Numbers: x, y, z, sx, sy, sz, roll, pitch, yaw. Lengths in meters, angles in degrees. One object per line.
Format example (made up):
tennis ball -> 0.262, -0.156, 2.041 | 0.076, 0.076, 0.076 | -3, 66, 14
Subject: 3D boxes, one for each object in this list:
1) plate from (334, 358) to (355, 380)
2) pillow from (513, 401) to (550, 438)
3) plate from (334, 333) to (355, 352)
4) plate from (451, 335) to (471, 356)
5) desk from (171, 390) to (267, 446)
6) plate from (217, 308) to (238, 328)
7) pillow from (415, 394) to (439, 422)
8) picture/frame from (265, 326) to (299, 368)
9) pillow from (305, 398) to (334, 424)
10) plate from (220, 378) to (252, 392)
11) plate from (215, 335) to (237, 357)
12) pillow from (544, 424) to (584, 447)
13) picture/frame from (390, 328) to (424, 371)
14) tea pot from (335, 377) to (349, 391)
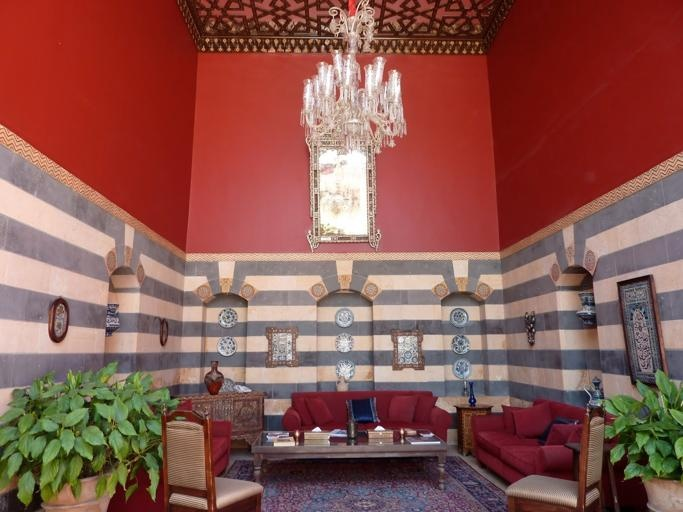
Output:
plate -> 0.089, 2.576, 9.504 | 0.439, 0.467, 0.099 | 3, -12, -13
pillow -> 3.220, 2.782, 7.089 | 0.491, 0.532, 0.195 | -8, -38, 15
plate -> 0.062, 1.988, 9.609 | 0.396, 0.432, 0.029 | 0, -11, 1
plate -> 2.732, 2.043, 9.653 | 0.403, 0.434, 0.100 | 2, -11, -10
desk -> -2.346, 3.086, 8.592 | 1.675, 1.146, 0.960 | 1, 14, -7
plate -> -2.596, 1.418, 9.609 | 0.440, 0.452, 0.087 | -1, -11, 8
pillow -> 1.666, 3.044, 8.356 | 0.414, 0.447, 0.159 | -9, -41, 41
picture/frame -> -1.320, 2.042, 9.196 | 0.762, 0.998, 0.060 | -1, -5, -2
pillow -> -0.432, 3.057, 8.243 | 0.535, 0.473, 0.309 | 1, -11, -3
plate -> -2.204, 2.737, 8.739 | 0.450, 0.162, 0.340 | 4, -12, -14
plate -> -2.576, 2.032, 9.424 | 0.377, 0.405, 0.087 | 12, -14, -1
pillow -> 2.936, 2.355, 5.539 | 0.346, 0.371, 0.130 | -11, -4, 40
picture/frame -> 1.442, 2.112, 9.266 | 0.774, 1.013, 0.069 | 0, -9, -4
tea pot -> 0.017, 2.829, 9.230 | 0.196, 0.322, 0.320 | 0, -9, 0
